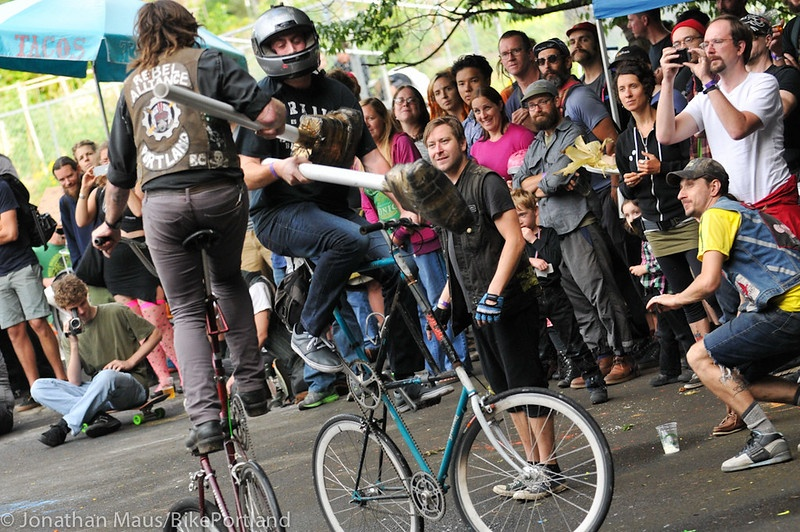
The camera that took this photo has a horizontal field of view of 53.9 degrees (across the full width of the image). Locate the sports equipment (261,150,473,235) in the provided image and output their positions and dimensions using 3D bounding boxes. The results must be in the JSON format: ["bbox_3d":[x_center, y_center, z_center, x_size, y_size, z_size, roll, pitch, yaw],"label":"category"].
[{"bbox_3d":[-0.291,-0.529,5.657,1.246,0.689,0.251,15,60,27],"label":"sports equipment"}]

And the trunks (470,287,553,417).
[{"bbox_3d":[0.877,0.646,6.006,0.357,1.082,0.502,-13,21,-3],"label":"trunks"}]

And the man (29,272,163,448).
[{"bbox_3d":[-3.920,1.099,9.902,1.253,1.884,1.544,-13,-3,23],"label":"man"}]

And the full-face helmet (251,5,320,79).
[{"bbox_3d":[-0.892,-1.749,6.071,0.476,0.473,0.547,-16,27,-19],"label":"full-face helmet"}]

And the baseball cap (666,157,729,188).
[{"bbox_3d":[2.327,-0.736,6.071,0.465,0.218,0.296,3,1,-5],"label":"baseball cap"}]

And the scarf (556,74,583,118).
[{"bbox_3d":[1.880,-1.971,8.875,0.344,0.460,0.190,5,-17,35],"label":"scarf"}]

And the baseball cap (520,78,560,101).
[{"bbox_3d":[1.432,-1.863,8.263,0.319,0.147,0.226,9,-12,-14],"label":"baseball cap"}]

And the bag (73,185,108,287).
[{"bbox_3d":[-4.492,-0.436,11.315,0.562,1.249,0.368,2,1,2],"label":"bag"}]

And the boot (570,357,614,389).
[{"bbox_3d":[1.893,1.132,8.257,0.632,0.346,0.203,1,0,-3],"label":"boot"}]

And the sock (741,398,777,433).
[{"bbox_3d":[2.543,1.087,5.644,0.171,0.203,0.163,-11,6,-5],"label":"sock"}]

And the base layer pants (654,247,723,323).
[{"bbox_3d":[2.456,0.153,6.719,0.378,0.819,0.252,-30,-2,17],"label":"base layer pants"}]

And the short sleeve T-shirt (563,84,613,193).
[{"bbox_3d":[2.138,-1.464,8.748,0.432,1.107,0.818,-20,5,-1],"label":"short sleeve T-shirt"}]

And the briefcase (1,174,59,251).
[{"bbox_3d":[-5.394,-0.754,11.462,0.654,0.882,1.001,0,5,43],"label":"briefcase"}]

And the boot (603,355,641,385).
[{"bbox_3d":[2.277,1.086,8.174,0.506,0.319,0.188,1,-11,-19],"label":"boot"}]
